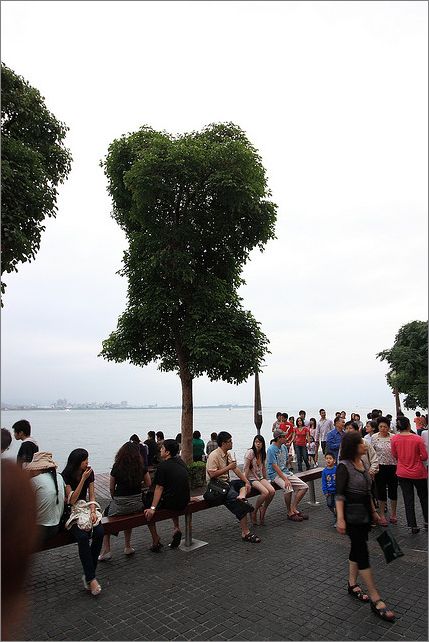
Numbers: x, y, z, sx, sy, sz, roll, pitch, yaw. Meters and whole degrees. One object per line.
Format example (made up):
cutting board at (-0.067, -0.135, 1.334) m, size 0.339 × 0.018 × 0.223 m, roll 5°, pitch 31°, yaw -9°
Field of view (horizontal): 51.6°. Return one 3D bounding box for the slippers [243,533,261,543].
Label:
slippers at (0.584, 3.422, 6.976) m, size 0.114 × 0.111 × 0.249 m, roll 8°, pitch -19°, yaw -40°

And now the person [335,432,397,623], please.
person at (1.568, 2.125, 4.779) m, size 0.500 × 1.786 × 0.664 m, roll -4°, pitch -11°, yaw 14°

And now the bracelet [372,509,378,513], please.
bracelet at (1.807, 2.159, 5.035) m, size 0.017 × 0.055 × 0.053 m, roll -12°, pitch 11°, yaw -28°

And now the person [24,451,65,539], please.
person at (-1.883, 1.947, 4.925) m, size 0.332 × 0.938 × 0.538 m, roll -2°, pitch -11°, yaw 7°

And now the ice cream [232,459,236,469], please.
ice cream at (0.320, 2.363, 7.277) m, size 0.072 × 0.117 × 0.069 m, roll -4°, pitch 3°, yaw -42°

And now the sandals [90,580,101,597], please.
sandals at (-1.365, 3.047, 5.039) m, size 0.074 × 0.078 × 0.206 m, roll 5°, pitch -22°, yaw -20°

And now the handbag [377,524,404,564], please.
handbag at (1.827, 2.325, 4.617) m, size 0.104 × 0.339 × 0.331 m, roll 8°, pitch -3°, yaw -10°

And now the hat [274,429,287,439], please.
hat at (1.215, 2.066, 8.146) m, size 0.153 × 0.121 × 0.219 m, roll -2°, pitch 13°, yaw 46°

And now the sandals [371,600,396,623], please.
sandals at (1.646, 2.860, 4.390) m, size 0.130 × 0.163 × 0.271 m, roll 9°, pitch -15°, yaw -43°

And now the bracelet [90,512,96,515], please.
bracelet at (-1.460, 2.312, 5.317) m, size 0.044 × 0.048 × 0.012 m, roll 16°, pitch 1°, yaw -14°

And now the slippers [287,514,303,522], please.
slippers at (1.493, 3.641, 8.197) m, size 0.113 × 0.075 × 0.200 m, roll 5°, pitch -15°, yaw -31°

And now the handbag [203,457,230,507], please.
handbag at (-0.082, 2.563, 7.050) m, size 0.458 × 0.620 × 0.361 m, roll 15°, pitch -49°, yaw 9°

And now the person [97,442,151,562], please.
person at (-1.235, 2.520, 6.147) m, size 0.682 × 1.615 × 0.956 m, roll 1°, pitch -11°, yaw -13°

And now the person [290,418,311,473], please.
person at (2.673, 3.894, 13.814) m, size 0.608 × 1.707 × 0.563 m, roll -2°, pitch -7°, yaw 0°
